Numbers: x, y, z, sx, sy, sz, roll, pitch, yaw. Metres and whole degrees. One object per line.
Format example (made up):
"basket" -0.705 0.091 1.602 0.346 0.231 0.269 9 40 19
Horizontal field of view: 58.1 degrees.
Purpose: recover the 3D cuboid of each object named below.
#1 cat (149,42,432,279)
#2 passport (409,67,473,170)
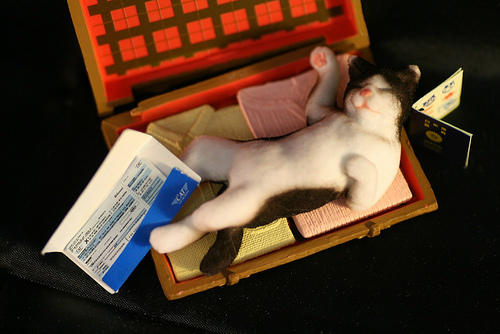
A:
"cat" 0.158 -0.017 1.616 0.884 0.362 0.707 -12 82 1
"passport" 0.730 -0.167 1.709 0.215 0.215 0.252 31 66 27
